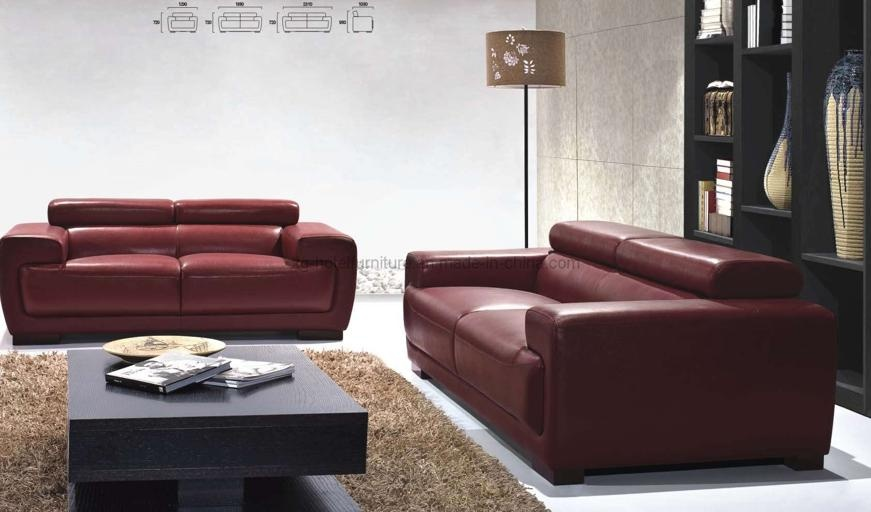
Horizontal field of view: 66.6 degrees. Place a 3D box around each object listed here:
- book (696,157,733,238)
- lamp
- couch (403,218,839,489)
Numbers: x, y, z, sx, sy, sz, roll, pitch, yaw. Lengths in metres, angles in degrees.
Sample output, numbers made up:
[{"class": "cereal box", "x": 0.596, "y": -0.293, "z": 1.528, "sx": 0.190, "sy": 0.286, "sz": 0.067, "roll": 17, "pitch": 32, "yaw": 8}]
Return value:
[{"class": "book", "x": 2.147, "y": -0.437, "z": 5.102, "sx": 0.429, "sy": 0.514, "sz": 0.167, "roll": 0, "pitch": 6, "yaw": 6}, {"class": "lamp", "x": 0.881, "y": -1.138, "z": 6.616, "sx": 0.705, "sy": 1.960, "sz": 1.539, "roll": 4, "pitch": 13, "yaw": 8}, {"class": "couch", "x": 0.974, "y": 0.466, "z": 4.099, "sx": 1.545, "sy": 1.126, "sz": 2.188, "roll": -4, "pitch": 13, "yaw": -25}]
